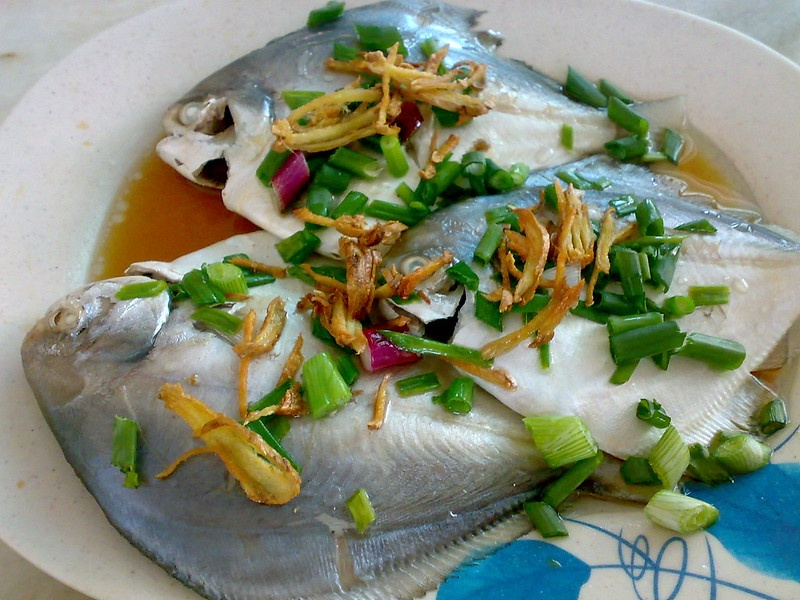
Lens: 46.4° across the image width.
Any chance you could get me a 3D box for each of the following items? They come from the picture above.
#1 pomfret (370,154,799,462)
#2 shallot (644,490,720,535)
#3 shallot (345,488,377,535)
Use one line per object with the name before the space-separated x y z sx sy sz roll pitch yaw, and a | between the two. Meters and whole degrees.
pomfret | 0.916 0.127 4.050 1.460 0.218 1.436 13 67 0
shallot | 1.183 0.888 3.933 0.211 0.086 0.178 22 44 32
shallot | -0.175 0.896 3.981 0.108 0.104 0.190 -33 89 -10
